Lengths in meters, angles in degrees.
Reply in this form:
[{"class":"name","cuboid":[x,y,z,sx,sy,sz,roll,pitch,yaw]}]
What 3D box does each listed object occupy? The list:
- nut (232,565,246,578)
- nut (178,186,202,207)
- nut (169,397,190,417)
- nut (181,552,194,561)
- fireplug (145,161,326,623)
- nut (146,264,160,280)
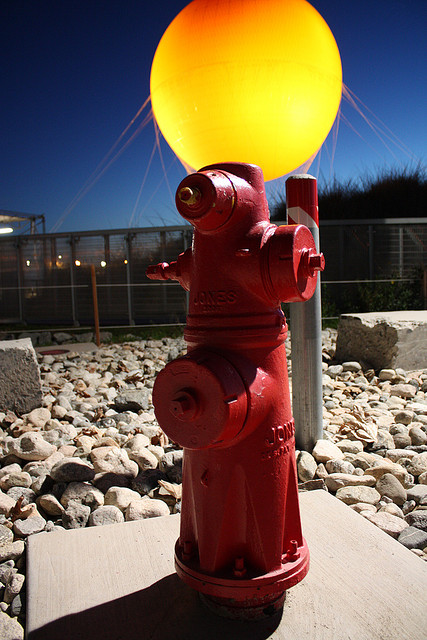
[{"class":"nut","cuboid":[0.051,0.502,0.862,0.027,0.022,0.025,-2,0,5]},{"class":"nut","cuboid":[-0.037,-0.206,0.734,0.031,0.035,0.034,-6,10,18]},{"class":"nut","cuboid":[-0.060,0.153,0.755,0.025,0.034,0.046,-7,4,-31]},{"class":"nut","cuboid":[-0.057,0.515,0.933,0.016,0.011,0.015,0,-3,6]},{"class":"fireplug","cuboid":[0.050,0.119,0.871,0.344,0.874,0.284,-2,0,-8]},{"class":"nut","cuboid":[-0.166,-0.127,1.140,0.041,0.043,0.031,9,8,33]}]
